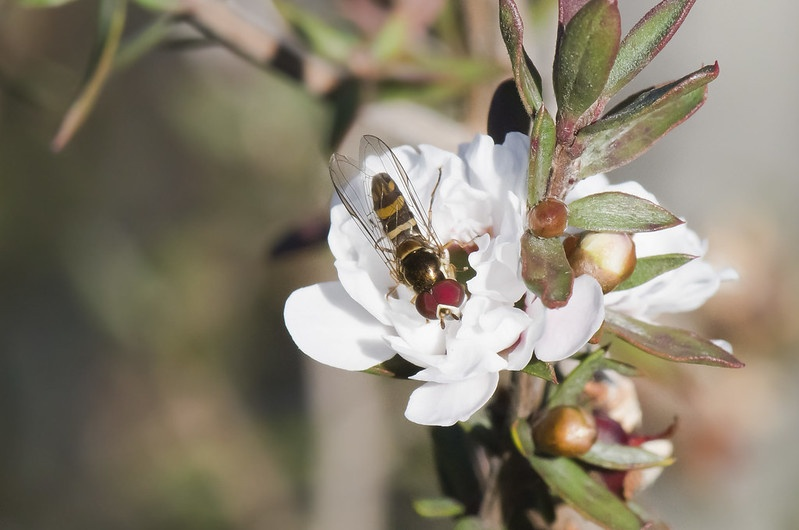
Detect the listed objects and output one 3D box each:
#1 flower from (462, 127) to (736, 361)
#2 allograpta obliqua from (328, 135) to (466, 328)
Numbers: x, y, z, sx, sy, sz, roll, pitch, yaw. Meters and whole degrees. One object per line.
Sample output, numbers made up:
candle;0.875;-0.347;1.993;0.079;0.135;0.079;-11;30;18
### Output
flower;0.244;-0.008;1.042;0.353;0.189;0.240;9;29;-21
allograpta obliqua;0.000;-0.030;1.102;0.166;0.070;0.231;-31;96;-27
